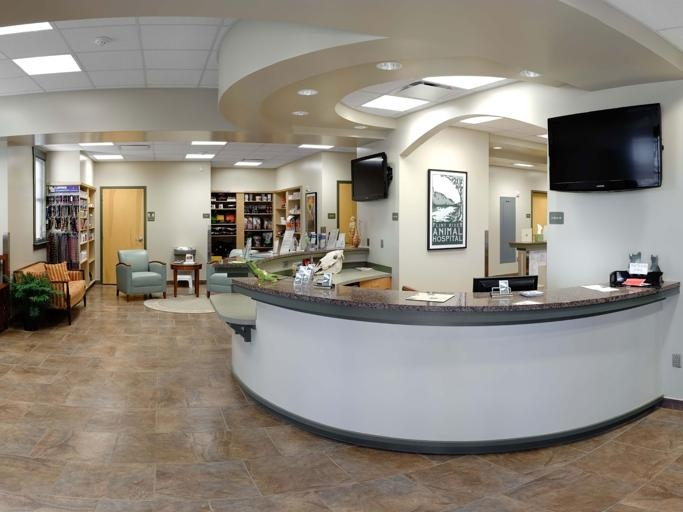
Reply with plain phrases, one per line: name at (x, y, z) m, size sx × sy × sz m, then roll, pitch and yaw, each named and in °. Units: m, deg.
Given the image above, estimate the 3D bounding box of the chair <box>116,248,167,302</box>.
chair at (-4.386, 0.424, 10.406) m, size 0.969 × 1.037 × 0.944 m, roll -4°, pitch 9°, yaw -28°

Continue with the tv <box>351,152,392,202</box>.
tv at (0.551, -1.344, 8.174) m, size 0.318 × 0.745 × 1.031 m, roll -4°, pitch 5°, yaw -31°

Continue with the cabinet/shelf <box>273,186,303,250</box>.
cabinet/shelf at (-1.499, -1.132, 12.866) m, size 0.477 × 1.455 × 2.081 m, roll -2°, pitch 8°, yaw -16°

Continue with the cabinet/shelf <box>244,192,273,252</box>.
cabinet/shelf at (-2.424, -1.035, 13.565) m, size 0.829 × 1.518 × 0.390 m, roll 3°, pitch 4°, yaw -16°

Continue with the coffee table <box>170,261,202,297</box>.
coffee table at (-3.642, 0.504, 11.136) m, size 0.793 × 0.789 × 0.757 m, roll 2°, pitch 5°, yaw 0°

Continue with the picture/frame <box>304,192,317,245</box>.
picture/frame at (-0.745, -1.071, 11.426) m, size 0.165 × 0.958 × 0.759 m, roll -2°, pitch 8°, yaw -17°

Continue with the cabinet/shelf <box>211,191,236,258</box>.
cabinet/shelf at (-3.335, -0.733, 13.395) m, size 0.784 × 2.081 × 0.258 m, roll 1°, pitch -14°, yaw -15°

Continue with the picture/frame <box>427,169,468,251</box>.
picture/frame at (1.777, -0.784, 7.956) m, size 0.843 × 1.312 × 0.205 m, roll -5°, pitch 9°, yaw -31°

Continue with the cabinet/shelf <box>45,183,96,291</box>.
cabinet/shelf at (-6.242, -0.741, 11.128) m, size 0.479 × 1.810 × 1.985 m, roll -6°, pitch 10°, yaw -35°

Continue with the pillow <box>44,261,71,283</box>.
pillow at (-5.190, 0.314, 8.615) m, size 0.151 × 0.469 × 0.509 m, roll -29°, pitch -11°, yaw 23°

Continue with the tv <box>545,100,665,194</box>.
tv at (2.726, -1.117, 4.853) m, size 1.103 × 0.851 × 0.116 m, roll 0°, pitch 3°, yaw 33°

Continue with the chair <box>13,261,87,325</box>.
chair at (-5.095, 0.601, 8.483) m, size 0.824 × 0.855 × 0.964 m, roll 5°, pitch 12°, yaw -13°

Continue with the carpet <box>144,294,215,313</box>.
carpet at (-3.369, 0.985, 9.746) m, size 1.276 × 0.089 × 2.186 m, roll -3°, pitch 8°, yaw -22°
